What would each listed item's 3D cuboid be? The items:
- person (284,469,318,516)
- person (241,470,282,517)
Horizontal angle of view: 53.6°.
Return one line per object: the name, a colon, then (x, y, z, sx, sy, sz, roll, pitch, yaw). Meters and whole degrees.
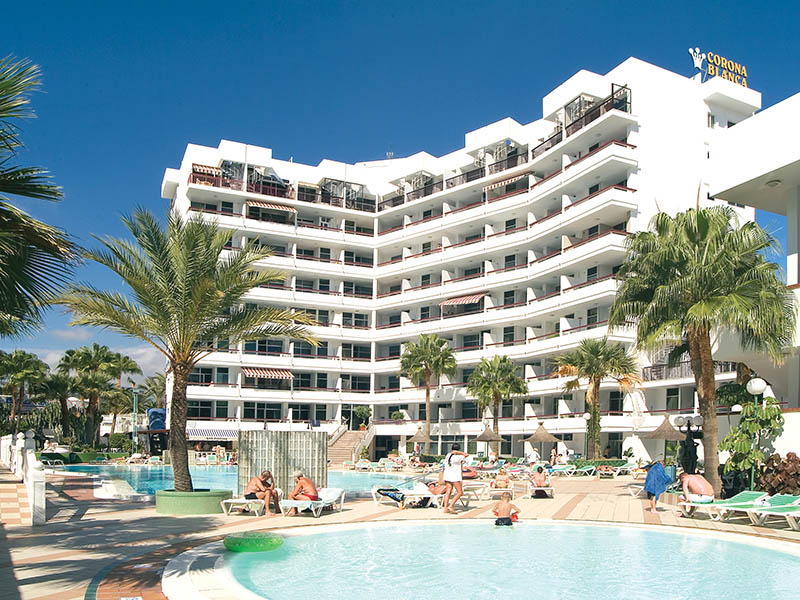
person: (-2.984, 5.912, 24.470, 1.029, 1.315, 0.693, -2, -3, 23)
person: (-4.238, 5.928, 24.378, 1.067, 1.309, 1.296, 0, -14, -10)
